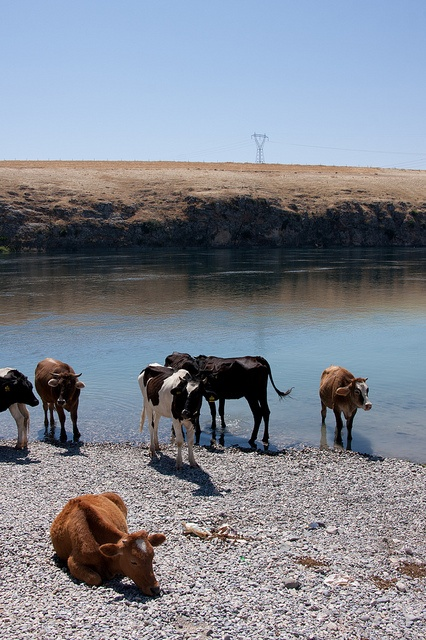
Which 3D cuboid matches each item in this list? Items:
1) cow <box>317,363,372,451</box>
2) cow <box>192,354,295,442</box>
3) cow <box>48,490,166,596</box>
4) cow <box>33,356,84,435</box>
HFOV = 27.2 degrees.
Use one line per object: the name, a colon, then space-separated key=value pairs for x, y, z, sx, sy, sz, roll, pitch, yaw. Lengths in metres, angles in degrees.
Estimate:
cow: x=2.552 y=1.670 z=17.515 sx=0.684 sy=1.319 sz=2.254 roll=4 pitch=2 yaw=-18
cow: x=0.471 y=1.655 z=18.930 sx=0.750 sy=1.823 sz=2.763 roll=-5 pitch=0 yaw=-42
cow: x=-1.423 y=2.841 z=11.423 sx=1.124 sy=0.876 sz=2.069 roll=-8 pitch=21 yaw=-32
cow: x=-3.131 y=1.426 z=18.254 sx=0.719 sy=1.175 sz=2.082 roll=-4 pitch=3 yaw=-18
